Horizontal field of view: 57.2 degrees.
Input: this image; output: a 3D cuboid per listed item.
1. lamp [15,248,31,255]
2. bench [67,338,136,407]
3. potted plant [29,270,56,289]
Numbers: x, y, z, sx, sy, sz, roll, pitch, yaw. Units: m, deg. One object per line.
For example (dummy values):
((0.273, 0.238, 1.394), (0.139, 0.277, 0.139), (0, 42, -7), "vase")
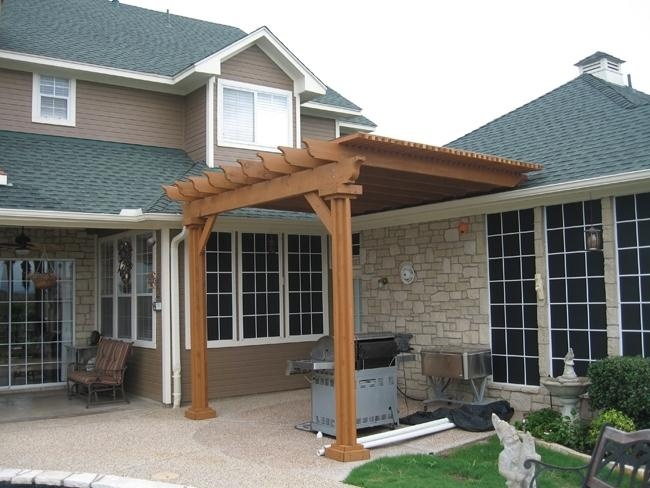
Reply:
((-6.184, 0.148, 12.164), (0.235, 0.116, 0.296), (0, -1, -23), "lamp")
((-4.503, 2.489, 11.837), (1.097, 0.900, 1.612), (-8, 2, -37), "bench")
((-5.699, 0.715, 11.999), (0.457, 0.200, 0.393), (-2, -7, 14), "potted plant")
